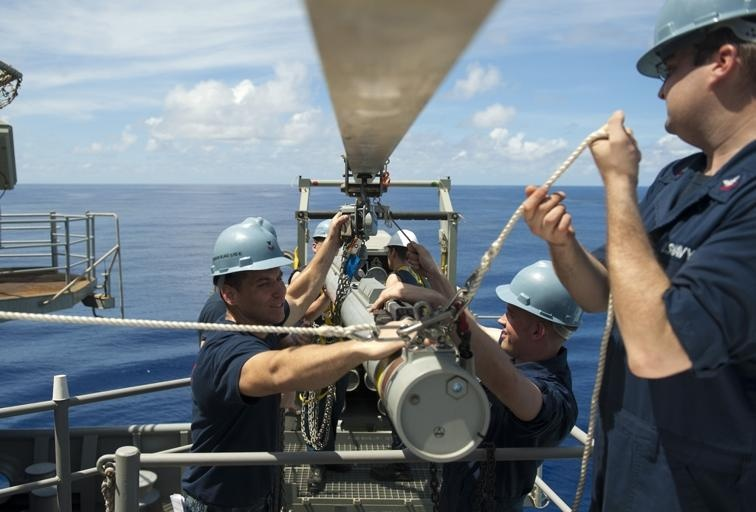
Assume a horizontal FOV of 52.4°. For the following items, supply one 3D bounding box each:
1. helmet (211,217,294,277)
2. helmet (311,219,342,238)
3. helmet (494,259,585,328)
[{"bbox_3d":[-1.037,-0.061,6.083,0.556,0.301,0.454,-14,7,17],"label":"helmet"},{"bbox_3d":[-0.741,-0.355,10.317,0.339,0.230,0.452,15,-7,-3],"label":"helmet"},{"bbox_3d":[1.277,0.367,6.071,0.587,0.308,0.494,34,12,11],"label":"helmet"}]
